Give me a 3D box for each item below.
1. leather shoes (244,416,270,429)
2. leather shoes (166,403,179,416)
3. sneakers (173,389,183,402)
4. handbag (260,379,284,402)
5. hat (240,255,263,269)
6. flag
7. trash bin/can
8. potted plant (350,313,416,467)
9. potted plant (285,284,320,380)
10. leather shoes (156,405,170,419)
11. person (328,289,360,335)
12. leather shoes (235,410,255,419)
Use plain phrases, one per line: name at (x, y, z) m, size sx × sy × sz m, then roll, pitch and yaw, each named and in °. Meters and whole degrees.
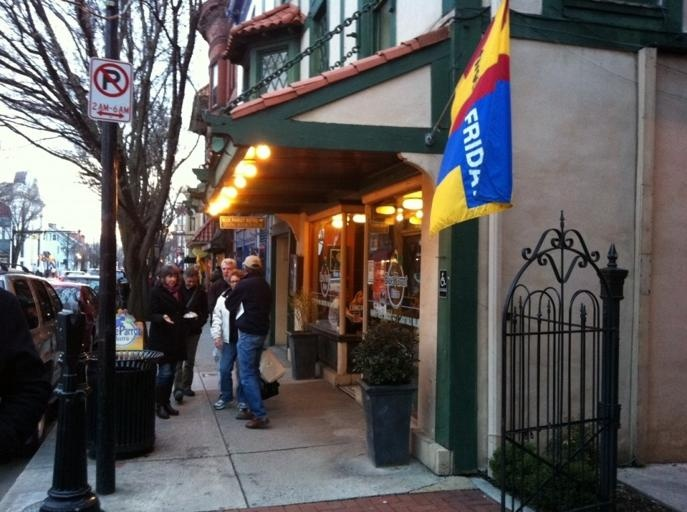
leather shoes at (-1.132, 2.195, 9.700) m, size 0.344 × 0.189 × 0.133 m, roll 4°, pitch -4°, yaw -12°
leather shoes at (-2.352, 2.125, 10.155) m, size 0.221 × 0.179 × 0.083 m, roll -3°, pitch 0°, yaw 18°
sneakers at (-2.435, 2.054, 10.802) m, size 0.075 × 0.097 × 0.212 m, roll 0°, pitch -44°, yaw -12°
handbag at (-1.017, 1.890, 10.368) m, size 0.235 × 0.493 × 0.280 m, roll 0°, pitch 2°, yaw 7°
hat at (-1.552, 0.090, 12.366) m, size 0.408 × 0.326 × 0.593 m, roll 1°, pitch 4°, yaw -6°
flag at (1.317, -1.410, 7.420) m, size 0.471 × 2.360 × 0.942 m, roll 4°, pitch -5°, yaw -31°
trash bin/can at (-2.548, 1.736, 8.857) m, size 1.023 × 1.314 × 1.060 m, roll -2°, pitch -2°, yaw 29°
potted plant at (0.523, 1.605, 8.693) m, size 0.832 × 1.701 × 0.709 m, roll -8°, pitch -11°, yaw 41°
potted plant at (-0.702, 1.256, 12.835) m, size 0.682 × 1.604 × 0.673 m, roll -9°, pitch 11°, yaw -41°
leather shoes at (-2.464, 2.133, 9.999) m, size 0.093 × 0.118 × 0.255 m, roll 0°, pitch 3°, yaw -35°
person at (-0.026, 0.920, 12.116) m, size 0.561 × 1.135 × 0.578 m, roll -1°, pitch -9°, yaw -5°
leather shoes at (-1.349, 2.159, 10.041) m, size 0.283 × 0.144 × 0.103 m, roll 5°, pitch -4°, yaw -7°
